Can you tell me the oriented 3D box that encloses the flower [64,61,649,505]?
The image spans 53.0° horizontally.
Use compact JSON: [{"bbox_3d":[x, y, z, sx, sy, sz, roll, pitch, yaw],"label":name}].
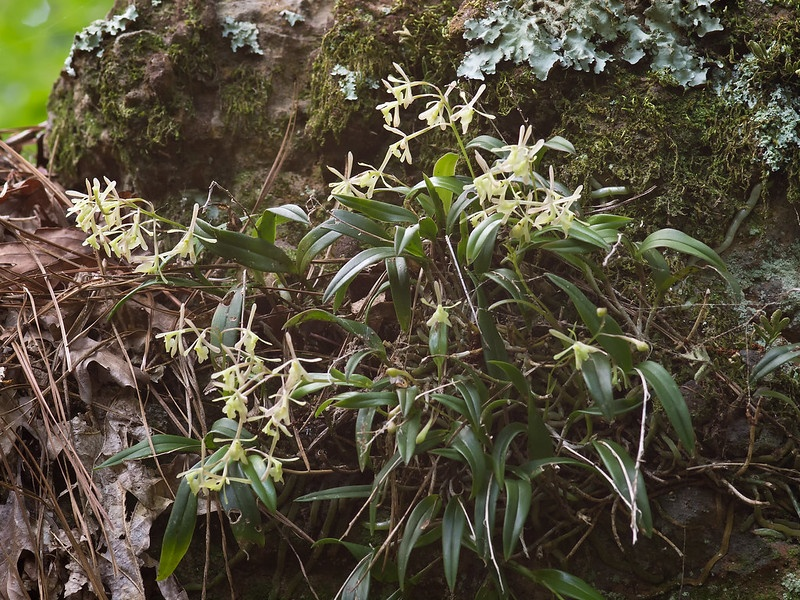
[{"bbox_3d":[0.046,0.007,3.171,1.601,1.655,0.789,-11,9,4],"label":"flower"}]
